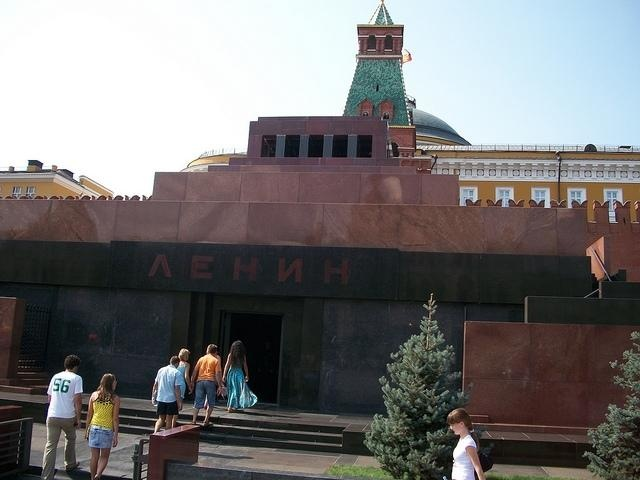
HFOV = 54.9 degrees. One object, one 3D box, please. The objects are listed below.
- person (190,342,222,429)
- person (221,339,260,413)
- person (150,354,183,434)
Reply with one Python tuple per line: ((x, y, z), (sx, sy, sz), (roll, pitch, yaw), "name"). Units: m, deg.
((-2.838, 3.682, 15.593), (0.738, 2.005, 0.719), (5, -12, -11), "person")
((-2.148, 3.725, 16.818), (0.878, 1.887, 0.918), (3, -12, -6), "person")
((-3.504, 3.528, 14.224), (0.574, 1.650, 0.669), (7, -13, -21), "person")
